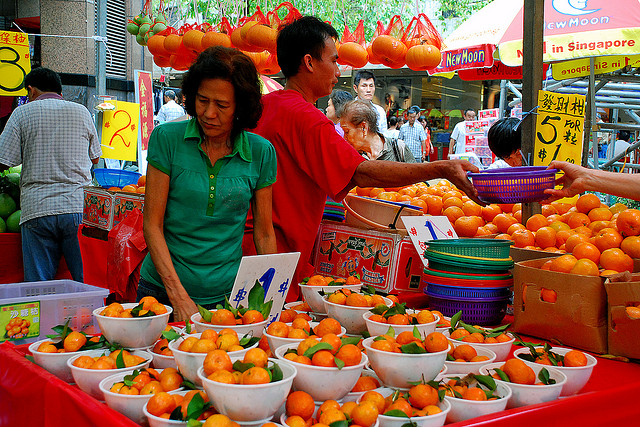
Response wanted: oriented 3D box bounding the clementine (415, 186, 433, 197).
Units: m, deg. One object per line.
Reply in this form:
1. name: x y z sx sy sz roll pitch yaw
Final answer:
1. clementine: 0.841 -0.179 3.794 0.099 0.071 0.126 5 10 38

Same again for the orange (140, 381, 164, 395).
1. orange: -0.558 0.579 1.556 0.041 0.042 0.041 10 8 5

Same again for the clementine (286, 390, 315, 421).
1. clementine: -0.067 0.598 1.510 0.081 0.082 0.077 -5 18 -20

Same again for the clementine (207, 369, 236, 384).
1. clementine: -0.301 0.504 1.445 0.048 0.047 0.048 13 -11 4

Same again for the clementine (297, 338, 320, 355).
1. clementine: -0.044 0.459 1.635 0.054 0.055 0.052 0 1 -5

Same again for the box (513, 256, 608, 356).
1. box: 1.093 0.419 2.160 0.344 0.221 0.347 0 0 -39

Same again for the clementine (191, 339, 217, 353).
1. clementine: -0.400 0.455 1.605 0.051 0.050 0.047 -2 9 -11

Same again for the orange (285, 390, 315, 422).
1. orange: -0.064 0.605 1.499 0.079 0.095 0.082 1 9 -3

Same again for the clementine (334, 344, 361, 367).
1. clementine: 0.095 0.470 1.559 0.064 0.064 0.061 0 14 -12

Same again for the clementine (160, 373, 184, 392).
1. clementine: -0.511 0.579 1.611 0.051 0.050 0.051 6 35 9

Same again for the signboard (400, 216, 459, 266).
1. signboard: 0.652 0.137 2.750 0.294 0.303 0.008 -6 28 29

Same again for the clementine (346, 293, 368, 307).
1. clementine: 0.153 0.369 1.984 0.061 0.061 0.058 2 25 -17

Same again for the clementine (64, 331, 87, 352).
1. clementine: -0.949 0.495 1.808 0.066 0.052 0.086 1 7 6

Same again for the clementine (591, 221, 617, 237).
1. clementine: 1.613 0.086 2.663 0.087 0.087 0.082 30 -42 -32

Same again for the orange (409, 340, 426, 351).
1. orange: 0.350 0.464 1.646 0.031 0.032 0.031 -7 -7 1

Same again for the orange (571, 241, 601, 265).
1. orange: 1.314 0.195 2.297 0.125 0.127 0.116 3 11 0

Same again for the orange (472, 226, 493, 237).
1. orange: 1.038 0.107 2.970 0.074 0.075 0.076 3 3 38

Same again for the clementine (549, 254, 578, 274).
1. clementine: 1.148 0.241 2.212 0.096 0.086 0.092 -11 -22 19

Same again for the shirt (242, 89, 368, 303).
1. shirt: -0.011 -0.058 2.758 0.597 1.263 0.664 0 2 -41

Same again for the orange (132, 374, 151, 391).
1. orange: -0.609 0.573 1.598 0.039 0.048 0.039 26 13 -8

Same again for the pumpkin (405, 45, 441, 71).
1. pumpkin: 1.056 -1.559 4.798 0.251 0.181 0.255 8 15 41

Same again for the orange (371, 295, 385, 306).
1. orange: 0.254 0.377 2.050 0.038 0.046 0.038 6 -12 -18

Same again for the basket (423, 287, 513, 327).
1. basket: 0.768 0.477 2.394 0.243 0.088 0.240 0 -1 2

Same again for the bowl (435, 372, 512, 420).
1. bowl: 0.515 0.607 1.572 0.170 0.095 0.171 0 -2 0

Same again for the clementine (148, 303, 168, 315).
1. clementine: -0.648 0.381 1.871 0.047 0.054 0.045 18 8 -47

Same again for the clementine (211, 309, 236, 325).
1. clementine: -0.378 0.408 1.832 0.094 0.052 0.045 -1 7 -12

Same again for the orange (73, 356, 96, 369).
1. orange: -0.846 0.533 1.678 0.041 0.041 0.041 6 2 -2

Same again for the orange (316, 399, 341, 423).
1. orange: 0.032 0.614 1.517 0.073 0.072 0.070 7 26 20

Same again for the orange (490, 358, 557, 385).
1. orange: 0.695 0.563 1.658 0.131 0.073 0.131 5 -8 -14

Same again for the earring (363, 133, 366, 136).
1. earring: 0.384 -0.684 4.077 0.021 0.020 0.005 7 7 28

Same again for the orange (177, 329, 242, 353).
1. orange: -0.387 0.455 1.647 0.112 0.053 0.110 1 -6 0

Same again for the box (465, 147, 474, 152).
1. box: 2.979 -1.261 9.338 0.126 0.070 0.086 1 1 4

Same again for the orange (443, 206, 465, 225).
1. orange: 0.888 0.004 3.130 0.134 0.116 0.113 10 16 4

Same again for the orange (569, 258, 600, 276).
1. orange: 1.214 0.250 2.142 0.090 0.094 0.092 1 -22 -33

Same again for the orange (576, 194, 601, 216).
1. orange: 1.663 -0.063 2.937 0.129 0.132 0.128 -7 26 16

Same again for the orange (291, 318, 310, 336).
1. orange: -0.079 0.451 1.867 0.051 0.063 0.051 2 9 -8

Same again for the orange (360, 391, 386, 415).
1. orange: 0.169 0.596 1.482 0.061 0.062 0.061 -1 -14 -4

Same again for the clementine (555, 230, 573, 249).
1. clementine: 1.357 0.143 2.614 0.084 0.085 0.084 -8 -32 25

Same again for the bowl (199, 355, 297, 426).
1. bowl: -0.216 0.576 1.479 0.288 0.160 0.136 -3 8 -26

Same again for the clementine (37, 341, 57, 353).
1. clementine: -1.048 0.505 1.790 0.042 0.041 0.042 15 13 -26

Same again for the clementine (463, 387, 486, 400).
1. clementine: 0.511 0.598 1.551 0.043 0.044 0.041 -1 4 -5

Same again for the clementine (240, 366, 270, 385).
1. clementine: -0.199 0.503 1.448 0.055 0.057 0.055 -2 9 -22

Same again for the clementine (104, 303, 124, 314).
1. clementine: -0.826 0.382 1.882 0.070 0.038 0.120 -3 8 -24
